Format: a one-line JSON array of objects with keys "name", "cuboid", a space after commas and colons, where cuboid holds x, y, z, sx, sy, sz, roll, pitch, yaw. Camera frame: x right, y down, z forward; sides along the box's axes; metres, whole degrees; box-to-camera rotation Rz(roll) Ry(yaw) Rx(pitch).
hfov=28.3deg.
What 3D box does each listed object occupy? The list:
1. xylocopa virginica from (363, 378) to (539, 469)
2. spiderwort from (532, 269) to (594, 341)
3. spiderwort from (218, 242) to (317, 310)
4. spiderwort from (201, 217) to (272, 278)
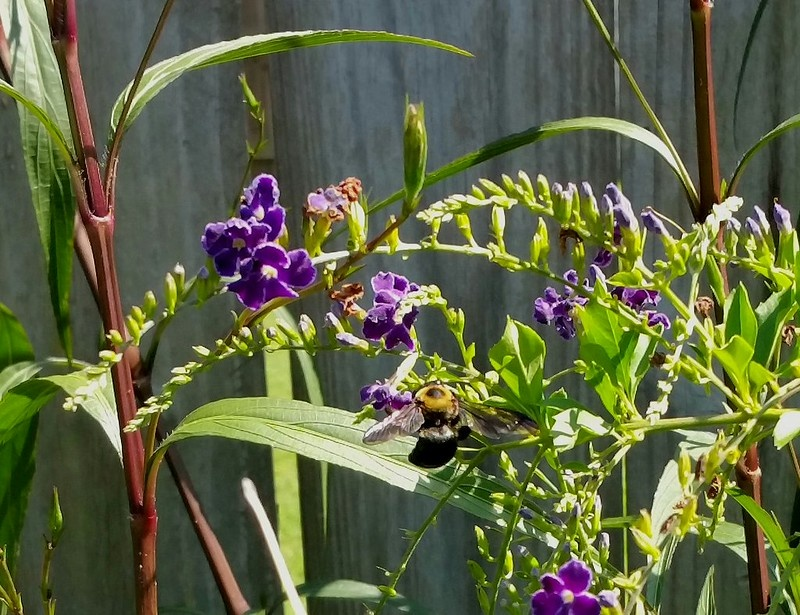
[{"name": "xylocopa virginica", "cuboid": [0.059, 0.181, 2.366, 0.260, 0.101, 0.190, -4, 19, -7]}, {"name": "spiderwort", "cuboid": [0.250, -0.006, 2.409, 0.060, 0.123, 0.058, 11, 18, 32]}, {"name": "spiderwort", "cuboid": [-0.180, -0.043, 2.269, 0.124, 0.084, 0.070, -3, -21, -2]}, {"name": "spiderwort", "cuboid": [-0.237, -0.091, 2.258, 0.059, 0.091, 0.071, 0, 15, 1]}]
